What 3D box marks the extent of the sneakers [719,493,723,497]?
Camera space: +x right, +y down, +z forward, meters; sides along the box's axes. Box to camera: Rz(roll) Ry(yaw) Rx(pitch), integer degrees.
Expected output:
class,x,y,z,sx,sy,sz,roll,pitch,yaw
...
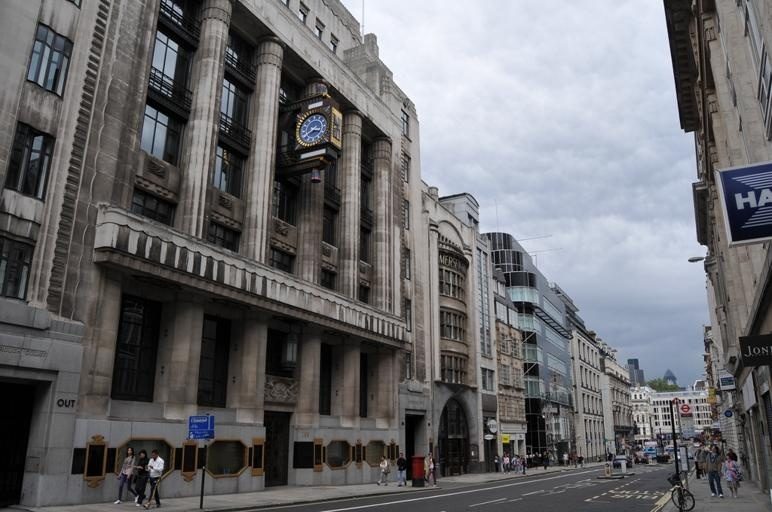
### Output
class,x,y,z,sx,sy,sz,roll,pitch,yaw
sneakers,19.581,13.945,35.559,0.151,0.185,0.432,-4,-32,16

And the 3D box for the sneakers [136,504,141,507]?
class,x,y,z,sx,sy,sz,roll,pitch,yaw
sneakers,-11.907,12.013,29.521,0.249,0.158,0.275,7,-25,-26

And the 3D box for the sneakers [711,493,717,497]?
class,x,y,z,sx,sy,sz,roll,pitch,yaw
sneakers,19.460,14.113,36.151,0.136,0.158,0.376,-6,-36,32
